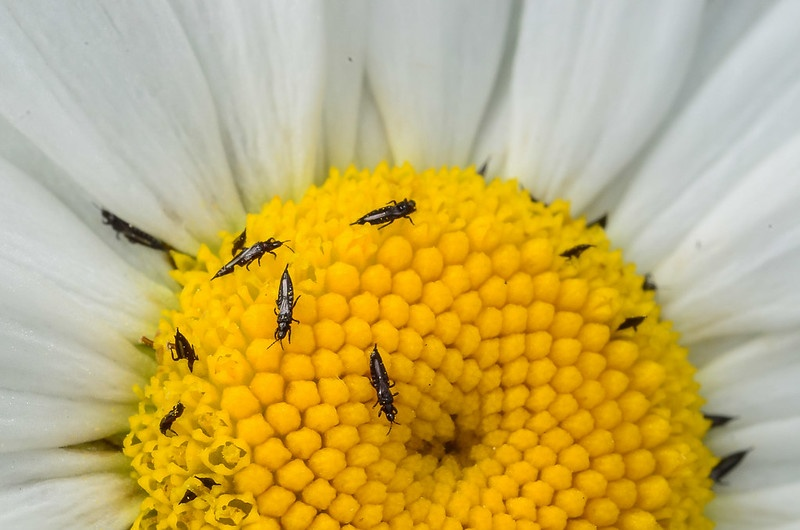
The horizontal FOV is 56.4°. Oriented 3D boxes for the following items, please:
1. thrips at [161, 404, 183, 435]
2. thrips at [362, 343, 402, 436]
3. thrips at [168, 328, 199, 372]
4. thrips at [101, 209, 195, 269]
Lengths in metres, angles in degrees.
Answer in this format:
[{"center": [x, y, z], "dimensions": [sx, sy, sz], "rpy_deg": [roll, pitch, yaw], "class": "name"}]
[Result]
[{"center": [-0.869, 0.604, 2.889], "dimensions": [0.084, 0.036, 0.120], "rpy_deg": [34, 95, 33], "class": "thrips"}, {"center": [-0.072, 0.486, 2.960], "dimensions": [0.064, 0.179, 0.271], "rpy_deg": [0, 99, 33], "class": "thrips"}, {"center": [-0.847, 0.337, 2.915], "dimensions": [0.104, 0.043, 0.154], "rpy_deg": [-32, 98, -12], "class": "thrips"}, {"center": [-1.070, -0.131, 3.237], "dimensions": [0.417, 0.103, 0.150], "rpy_deg": [34, 39, -25], "class": "thrips"}]
